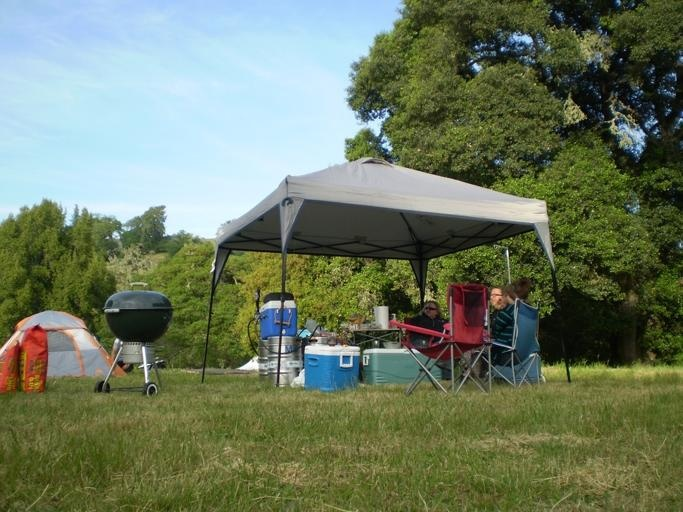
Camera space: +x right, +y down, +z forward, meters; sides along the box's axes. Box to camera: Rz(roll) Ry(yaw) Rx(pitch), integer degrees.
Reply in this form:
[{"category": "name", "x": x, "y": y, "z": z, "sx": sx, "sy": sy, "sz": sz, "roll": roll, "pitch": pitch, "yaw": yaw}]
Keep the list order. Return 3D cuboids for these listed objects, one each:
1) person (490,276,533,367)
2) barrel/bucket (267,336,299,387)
[{"category": "person", "x": 3.428, "y": 1.389, "z": 16.039, "sx": 0.812, "sy": 2.037, "sz": 0.889, "roll": 3, "pitch": -26, "yaw": 27}, {"category": "barrel/bucket", "x": -1.258, "y": 2.306, "z": 17.453, "sx": 0.850, "sy": 1.433, "sz": 0.922, "roll": -1, "pitch": -10, "yaw": 0}]
